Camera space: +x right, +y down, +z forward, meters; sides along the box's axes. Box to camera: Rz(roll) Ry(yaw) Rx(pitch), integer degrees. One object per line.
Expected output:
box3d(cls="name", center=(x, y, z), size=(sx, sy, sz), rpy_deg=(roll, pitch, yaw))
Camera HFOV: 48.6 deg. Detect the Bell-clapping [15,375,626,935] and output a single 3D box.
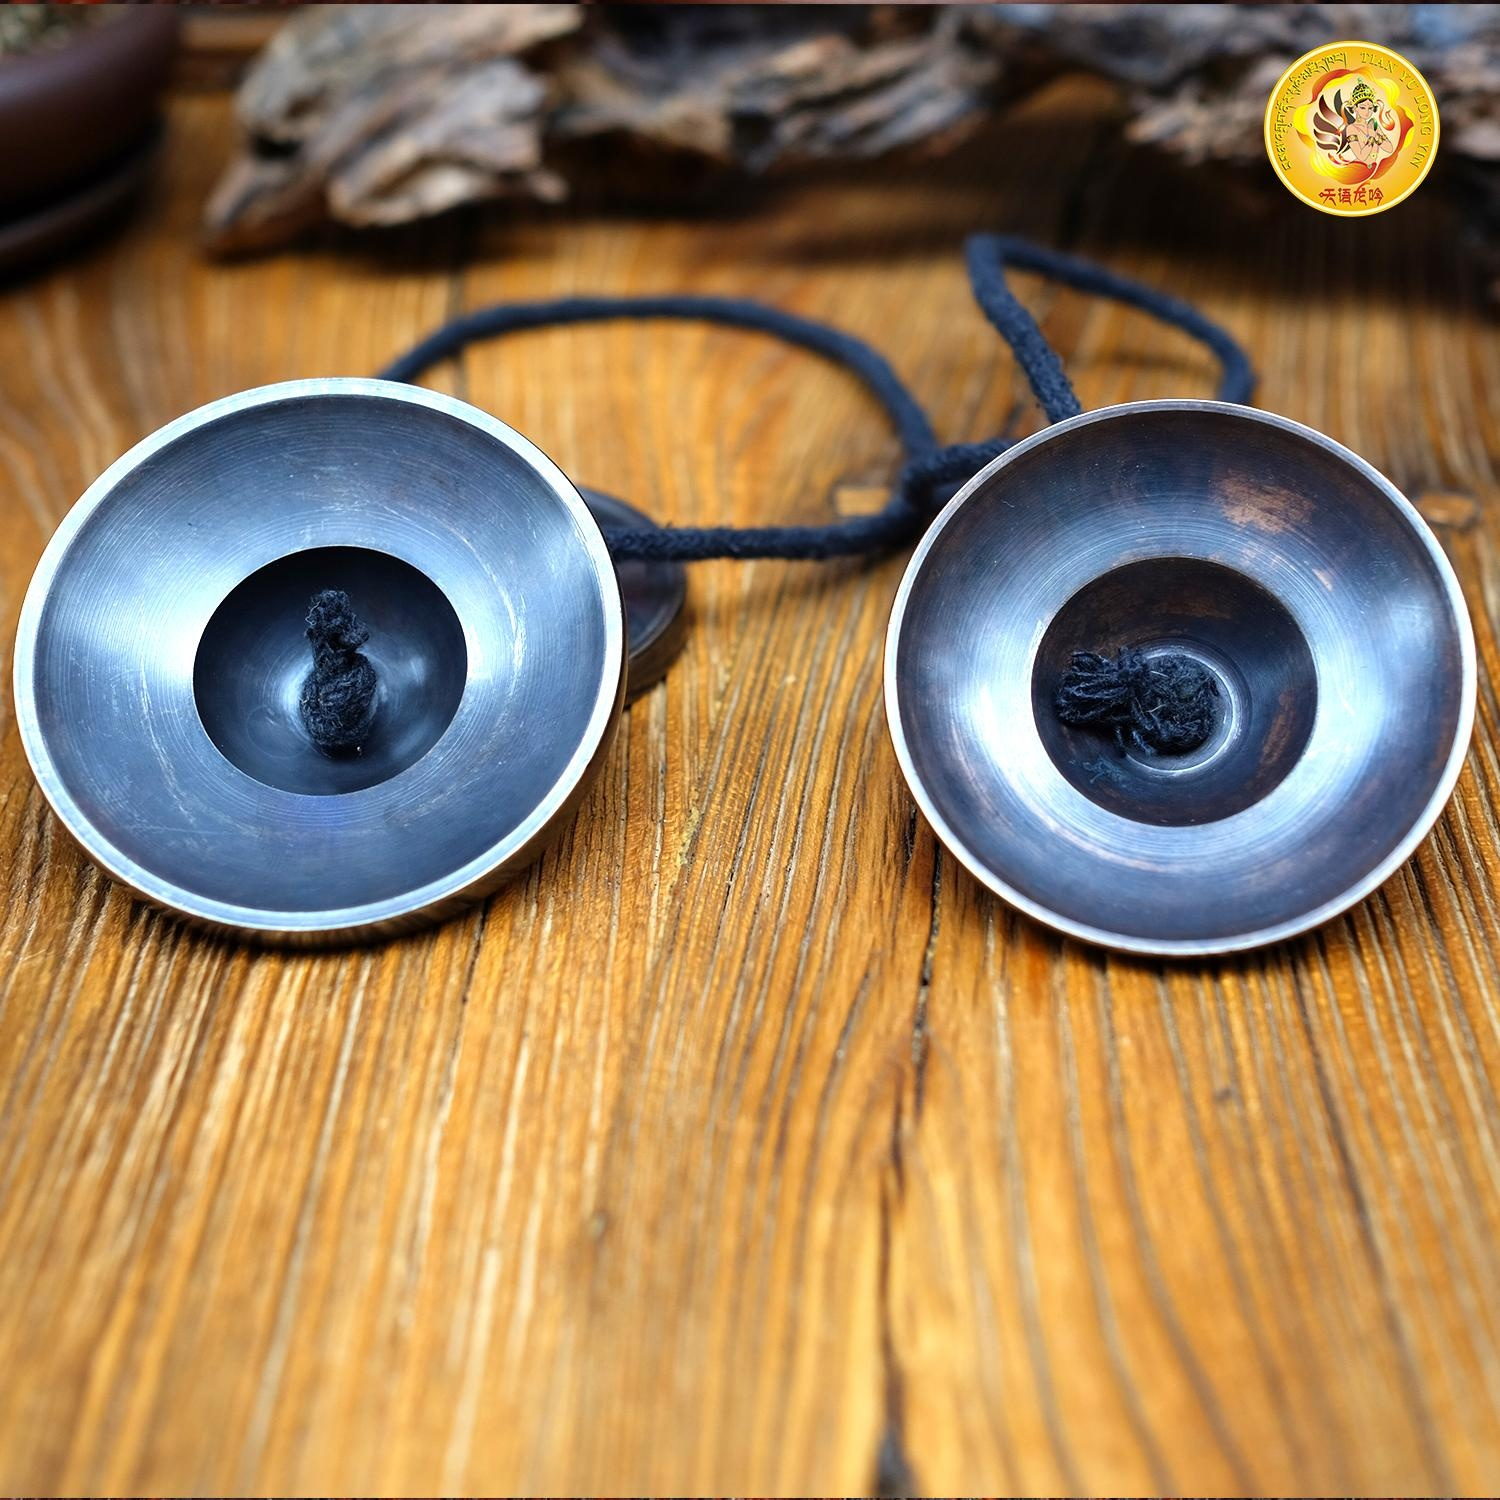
box3d(cls="Bell-clapping", center=(-0.291, -0.036, 1.036), size=(0.111, 0.324, 0.315), rpy_deg=(-20, 44, -33))
